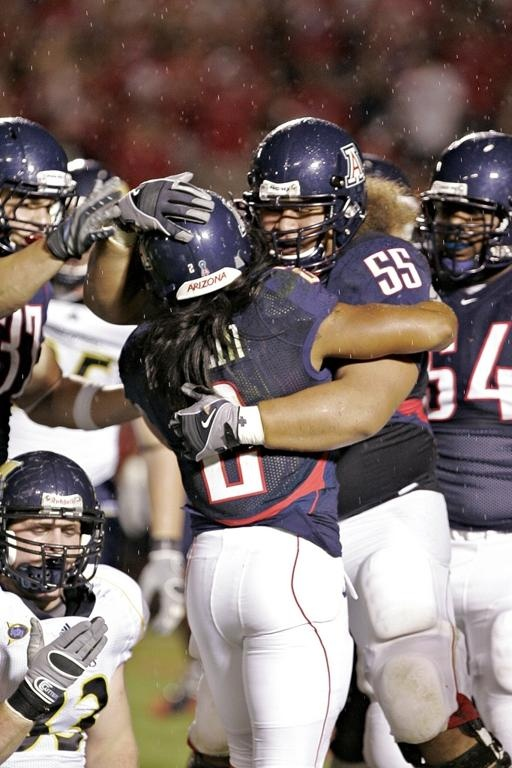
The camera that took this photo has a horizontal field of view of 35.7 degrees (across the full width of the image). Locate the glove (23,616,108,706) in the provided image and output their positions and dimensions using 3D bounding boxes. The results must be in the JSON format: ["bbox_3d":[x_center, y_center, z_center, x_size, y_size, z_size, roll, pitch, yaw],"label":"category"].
[{"bbox_3d":[-0.414,0.593,1.710,0.111,0.059,0.189,42,53,2],"label":"glove"}]

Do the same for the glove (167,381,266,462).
[{"bbox_3d":[-0.069,0.074,1.515,0.171,0.079,0.120,5,92,37],"label":"glove"}]

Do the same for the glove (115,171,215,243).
[{"bbox_3d":[-0.189,-0.345,1.585,0.183,0.052,0.145,0,60,30],"label":"glove"}]
